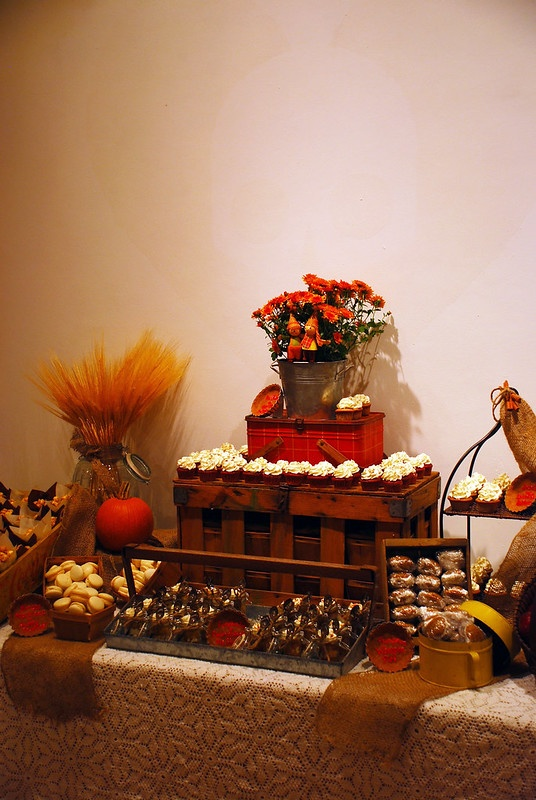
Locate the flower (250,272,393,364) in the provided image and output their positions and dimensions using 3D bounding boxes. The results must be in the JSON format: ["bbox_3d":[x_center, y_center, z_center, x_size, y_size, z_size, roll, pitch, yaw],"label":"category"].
[{"bbox_3d":[0.152,-0.220,1.754,0.270,0.272,0.366,-2,-5,31],"label":"flower"}]

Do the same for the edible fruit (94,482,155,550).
[{"bbox_3d":[-0.406,0.322,1.775,0.164,0.149,0.155,1,10,22],"label":"edible fruit"}]

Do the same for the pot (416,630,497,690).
[{"bbox_3d":[0.350,0.467,1.160,0.117,0.078,0.155,-2,-4,2],"label":"pot"}]

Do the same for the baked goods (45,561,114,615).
[{"bbox_3d":[-0.441,0.424,1.479,0.090,0.052,0.153,1,1,-24],"label":"baked goods"}]

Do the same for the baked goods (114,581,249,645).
[{"bbox_3d":[-0.193,0.464,1.395,0.155,0.045,0.138,1,8,23],"label":"baked goods"}]

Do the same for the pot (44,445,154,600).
[{"bbox_3d":[-0.477,0.312,1.963,0.271,0.330,0.270,-13,4,1],"label":"pot"}]

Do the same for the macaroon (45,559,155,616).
[{"bbox_3d":[-0.422,0.409,1.511,0.135,0.053,0.178,2,3,17],"label":"macaroon"}]

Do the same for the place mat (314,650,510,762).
[{"bbox_3d":[0.201,0.568,1.216,0.163,0.086,0.281,7,-7,18],"label":"place mat"}]

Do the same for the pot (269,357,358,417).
[{"bbox_3d":[0.123,-0.031,1.695,0.217,0.149,0.191,-3,7,-6],"label":"pot"}]

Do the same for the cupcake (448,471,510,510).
[{"bbox_3d":[0.475,0.208,1.484,0.099,0.033,0.096,-17,15,-25],"label":"cupcake"}]
